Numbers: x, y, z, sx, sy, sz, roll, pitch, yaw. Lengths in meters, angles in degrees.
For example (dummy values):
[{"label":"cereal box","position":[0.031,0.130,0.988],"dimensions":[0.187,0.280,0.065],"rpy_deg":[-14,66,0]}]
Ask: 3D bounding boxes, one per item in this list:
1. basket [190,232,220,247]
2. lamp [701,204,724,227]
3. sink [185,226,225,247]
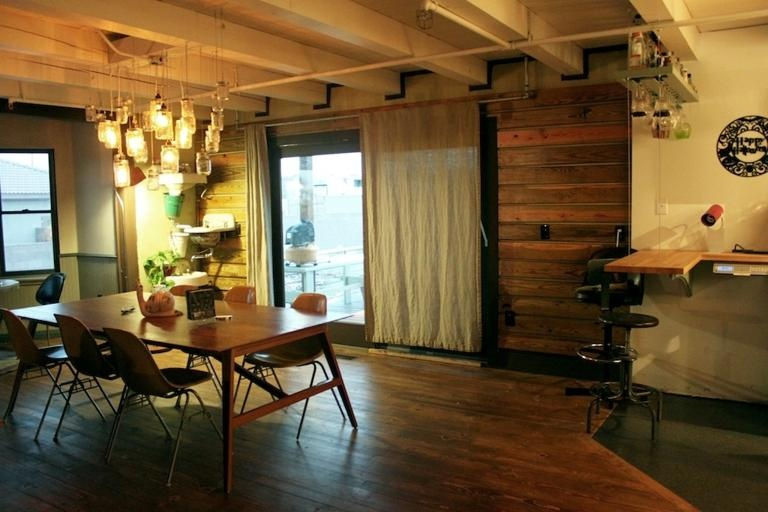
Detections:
[{"label":"basket","position":[-2.564,-0.232,8.062],"dimensions":[0.305,0.092,0.279],"rpy_deg":[0,9,16]},{"label":"lamp","position":[3.206,-0.384,5.453],"dimensions":[0.193,0.237,0.230],"rpy_deg":[6,17,26]},{"label":"sink","position":[-2.604,-0.266,8.136],"dimensions":[0.538,0.390,0.539],"rpy_deg":[-4,15,-12]}]
